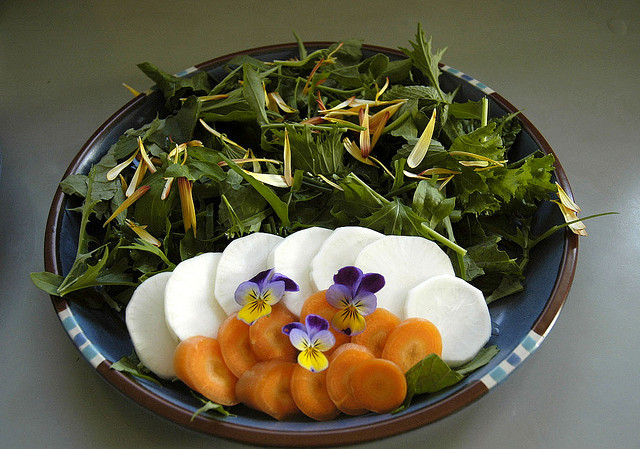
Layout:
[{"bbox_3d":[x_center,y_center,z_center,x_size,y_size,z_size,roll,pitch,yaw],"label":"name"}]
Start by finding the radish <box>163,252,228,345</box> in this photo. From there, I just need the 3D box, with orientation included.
[{"bbox_3d":[-0.217,0.126,0.999,0.104,0.042,0.145,-8,61,-7],"label":"radish"}]

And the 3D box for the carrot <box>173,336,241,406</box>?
[{"bbox_3d":[-0.186,0.249,0.947,0.081,0.047,0.126,-30,66,-18],"label":"carrot"}]

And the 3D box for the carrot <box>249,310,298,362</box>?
[{"bbox_3d":[-0.076,0.184,0.952,0.077,0.037,0.077,-5,60,-5],"label":"carrot"}]

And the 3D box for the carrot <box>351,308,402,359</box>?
[{"bbox_3d":[0.095,0.177,0.945,0.062,0.069,0.110,1,21,3],"label":"carrot"}]

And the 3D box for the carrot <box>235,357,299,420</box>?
[{"bbox_3d":[-0.083,0.271,0.922,0.090,0.026,0.095,10,73,3],"label":"carrot"}]

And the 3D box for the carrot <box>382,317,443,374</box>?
[{"bbox_3d":[0.151,0.195,0.928,0.085,0.022,0.086,-30,90,-10],"label":"carrot"}]

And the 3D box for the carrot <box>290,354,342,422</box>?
[{"bbox_3d":[-0.018,0.279,0.916,0.086,0.015,0.093,-8,89,-19],"label":"carrot"}]

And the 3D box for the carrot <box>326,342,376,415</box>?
[{"bbox_3d":[0.058,0.253,0.904,0.089,0.024,0.104,22,93,3],"label":"carrot"}]

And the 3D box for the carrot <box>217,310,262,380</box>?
[{"bbox_3d":[-0.138,0.203,1.002,0.080,0.094,0.067,15,31,21],"label":"carrot"}]
